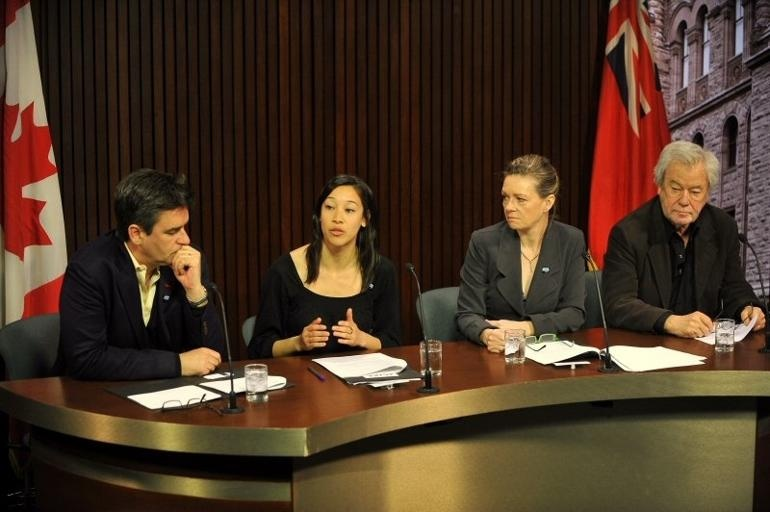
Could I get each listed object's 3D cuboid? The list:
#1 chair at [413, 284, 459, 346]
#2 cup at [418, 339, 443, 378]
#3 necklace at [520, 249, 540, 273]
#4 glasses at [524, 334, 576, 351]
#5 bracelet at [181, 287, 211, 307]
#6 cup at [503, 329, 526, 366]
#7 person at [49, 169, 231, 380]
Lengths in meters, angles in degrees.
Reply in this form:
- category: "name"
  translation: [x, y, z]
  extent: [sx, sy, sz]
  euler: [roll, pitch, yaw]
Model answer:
- category: "chair"
  translation: [0.328, 0.391, 4.082]
  extent: [0.288, 0.493, 0.293]
  euler: [0, -4, -9]
- category: "cup"
  translation: [0.203, 0.500, 3.140]
  extent: [0.134, 0.179, 0.154]
  euler: [0, -4, 0]
- category: "necklace"
  translation: [0.911, 0.038, 3.998]
  extent: [0.119, 0.137, 0.022]
  euler: [5, 3, 6]
- category: "glasses"
  translation: [0.874, 0.473, 3.478]
  extent: [0.115, 0.038, 0.116]
  euler: [-6, 11, -27]
- category: "bracelet"
  translation: [-1.006, 0.223, 3.449]
  extent: [0.085, 0.066, 0.109]
  euler: [7, -6, -45]
- category: "cup"
  translation: [0.663, 0.466, 3.264]
  extent: [0.130, 0.246, 0.136]
  euler: [-1, 1, 0]
- category: "person"
  translation: [-1.199, 0.081, 3.646]
  extent: [1.012, 1.369, 0.949]
  euler: [3, 5, 28]
